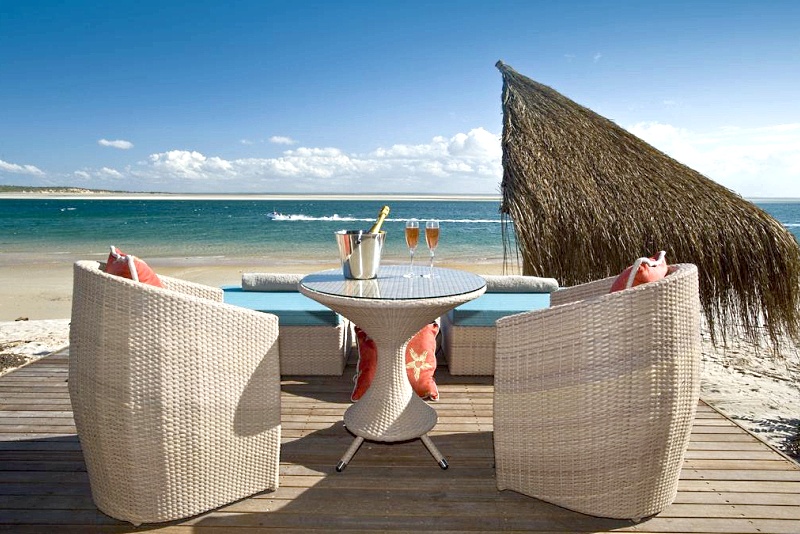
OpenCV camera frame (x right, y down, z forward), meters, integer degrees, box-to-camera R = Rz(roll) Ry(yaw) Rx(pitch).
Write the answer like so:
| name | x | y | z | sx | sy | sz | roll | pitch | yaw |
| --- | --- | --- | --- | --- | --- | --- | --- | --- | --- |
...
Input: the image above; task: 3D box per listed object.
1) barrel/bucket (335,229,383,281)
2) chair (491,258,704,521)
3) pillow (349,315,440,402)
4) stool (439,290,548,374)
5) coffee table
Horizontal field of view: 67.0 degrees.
| name | x | y | z | sx | sy | sz | roll | pitch | yaw |
| --- | --- | --- | --- | --- | --- | --- | --- | --- | --- |
| barrel/bucket | -0.335 | -0.082 | 5.294 | 0.503 | 0.333 | 0.451 | -1 | -4 | 25 |
| chair | 1.809 | 0.966 | 5.927 | 2.289 | 2.310 | 2.232 | 5 | 5 | 40 |
| pillow | 0.003 | 0.883 | 5.863 | 1.003 | 0.725 | 0.260 | -3 | -4 | -15 |
| stool | 1.011 | 0.659 | 6.421 | 1.022 | 0.491 | 1.306 | 0 | 4 | 7 |
| coffee table | -0.099 | 0.787 | 5.741 | 2.102 | 1.406 | 1.779 | -1 | 5 | -4 |
